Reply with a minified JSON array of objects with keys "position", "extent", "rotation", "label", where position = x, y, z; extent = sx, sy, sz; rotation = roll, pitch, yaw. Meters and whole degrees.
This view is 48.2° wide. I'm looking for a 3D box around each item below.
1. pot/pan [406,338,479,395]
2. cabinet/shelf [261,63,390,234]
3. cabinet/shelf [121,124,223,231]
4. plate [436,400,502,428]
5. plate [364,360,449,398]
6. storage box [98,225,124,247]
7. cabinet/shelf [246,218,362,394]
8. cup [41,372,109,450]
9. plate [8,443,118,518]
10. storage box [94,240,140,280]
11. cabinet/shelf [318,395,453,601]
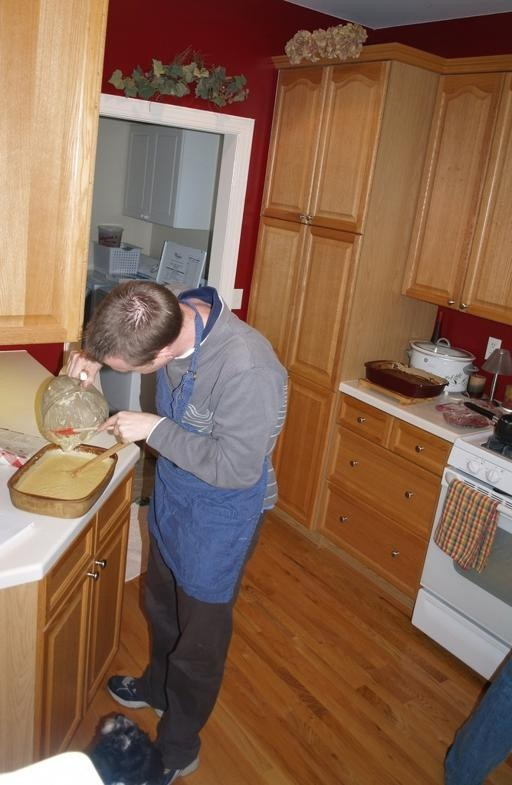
[{"position":[0.952,-0.122,2.980],"extent":[0.391,0.269,0.323],"rotation":[4,5,18],"label":"pot/pan"},{"position":[0.363,-1.223,2.842],"extent":[0.336,0.816,0.734],"rotation":[-7,32,-34],"label":"cabinet/shelf"},{"position":[-0.718,-1.696,4.495],"extent":[0.288,0.708,0.830],"rotation":[-7,24,-40],"label":"cabinet/shelf"},{"position":[0.954,0.101,2.570],"extent":[0.172,0.046,0.164],"rotation":[5,17,17],"label":"plate"},{"position":[0.688,-0.078,2.784],"extent":[0.193,0.069,0.307],"rotation":[-2,25,-42],"label":"plate"},{"position":[-1.232,-1.308,4.873],"extent":[0.218,0.159,0.195],"rotation":[14,15,31],"label":"storage box"},{"position":[0.270,-0.436,2.837],"extent":[0.269,0.847,0.740],"rotation":[-3,25,-32],"label":"cabinet/shelf"},{"position":[-0.474,0.054,1.467],"extent":[0.139,0.180,0.134],"rotation":[-15,6,2],"label":"cup"},{"position":[-0.472,0.216,1.415],"extent":[0.201,0.068,0.299],"rotation":[11,17,0],"label":"plate"},{"position":[-1.192,-1.132,4.915],"extent":[0.326,0.257,0.388],"rotation":[-4,27,-27],"label":"storage box"},{"position":[0.789,0.469,2.971],"extent":[0.598,0.893,0.732],"rotation":[-7,25,-31],"label":"cabinet/shelf"}]
